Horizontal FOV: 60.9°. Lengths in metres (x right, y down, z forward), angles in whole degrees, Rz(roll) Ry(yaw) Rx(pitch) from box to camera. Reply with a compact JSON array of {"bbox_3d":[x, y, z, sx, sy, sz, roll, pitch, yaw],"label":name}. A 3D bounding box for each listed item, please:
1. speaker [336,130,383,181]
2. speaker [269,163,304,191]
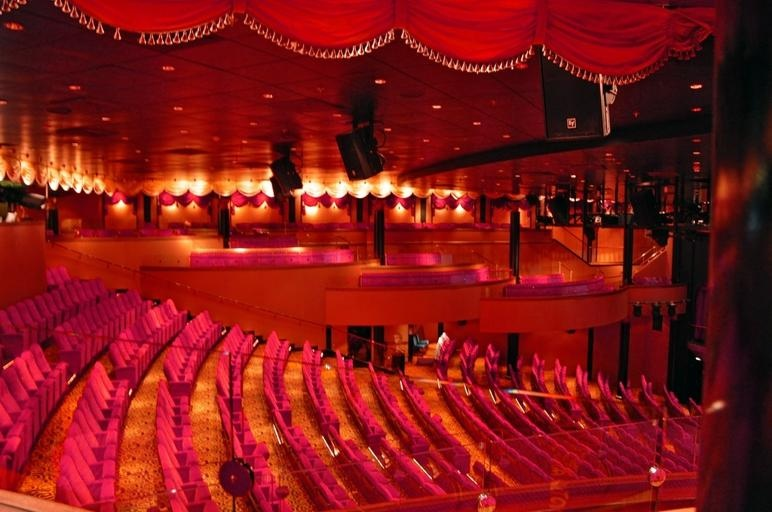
[{"bbox_3d":[-0.299,-1.234,7.821,0.575,0.661,0.454,0,2,-18],"label":"speaker"},{"bbox_3d":[-1.610,-1.277,10.581,0.398,0.504,0.773,0,2,-29],"label":"speaker"}]
